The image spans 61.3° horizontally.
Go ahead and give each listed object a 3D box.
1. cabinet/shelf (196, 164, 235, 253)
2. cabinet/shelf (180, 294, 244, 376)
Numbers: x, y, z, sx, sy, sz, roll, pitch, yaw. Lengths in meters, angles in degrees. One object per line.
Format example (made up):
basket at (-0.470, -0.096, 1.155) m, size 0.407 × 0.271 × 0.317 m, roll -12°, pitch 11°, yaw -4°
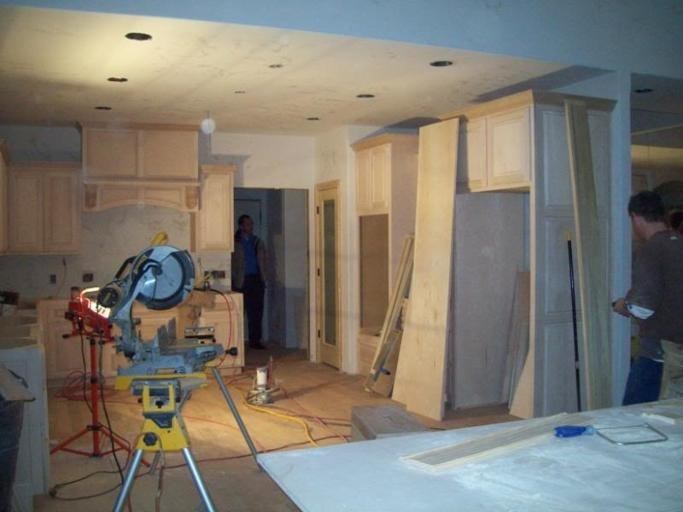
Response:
cabinet/shelf at (-1.613, -0.610, 7.351) m, size 0.521 × 1.080 × 0.197 m, roll -2°, pitch 12°, yaw -10°
cabinet/shelf at (-1.561, 0.993, 7.149) m, size 0.680 × 1.075 × 0.438 m, roll -2°, pitch 12°, yaw -12°
